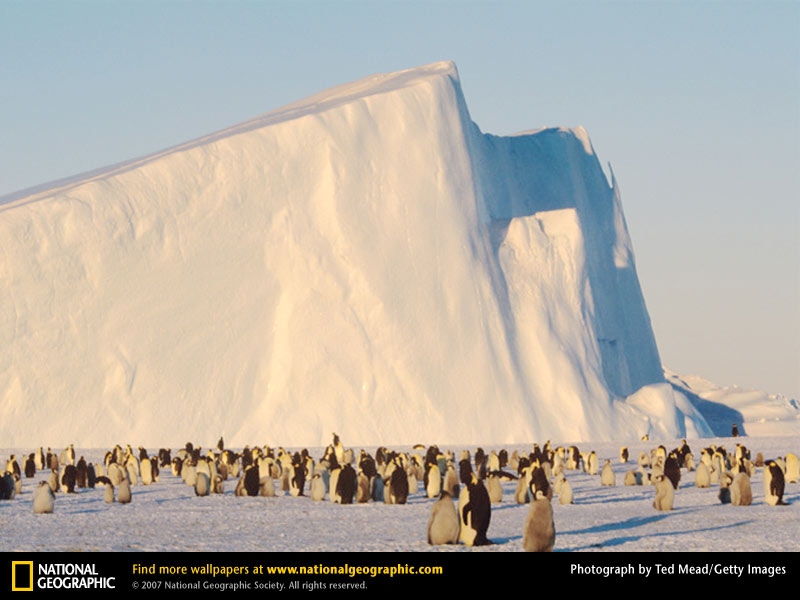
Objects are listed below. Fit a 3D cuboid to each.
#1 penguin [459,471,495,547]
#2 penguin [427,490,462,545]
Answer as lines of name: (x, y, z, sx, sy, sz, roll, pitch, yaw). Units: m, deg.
penguin: (1.413, 4.012, 30.788, 0.546, 1.328, 0.433, 1, -7, 1)
penguin: (0.835, 4.174, 30.877, 0.620, 1.033, 0.429, 1, -7, 0)
